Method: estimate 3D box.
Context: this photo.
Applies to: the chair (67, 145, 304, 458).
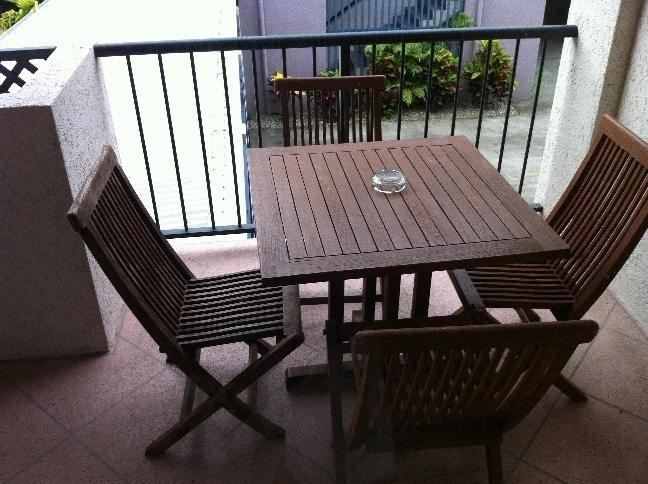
[{"bbox_3d":[-0.539,0.247,2.211,0.836,1.133,0.714,-4,25,-14],"label":"chair"}]
